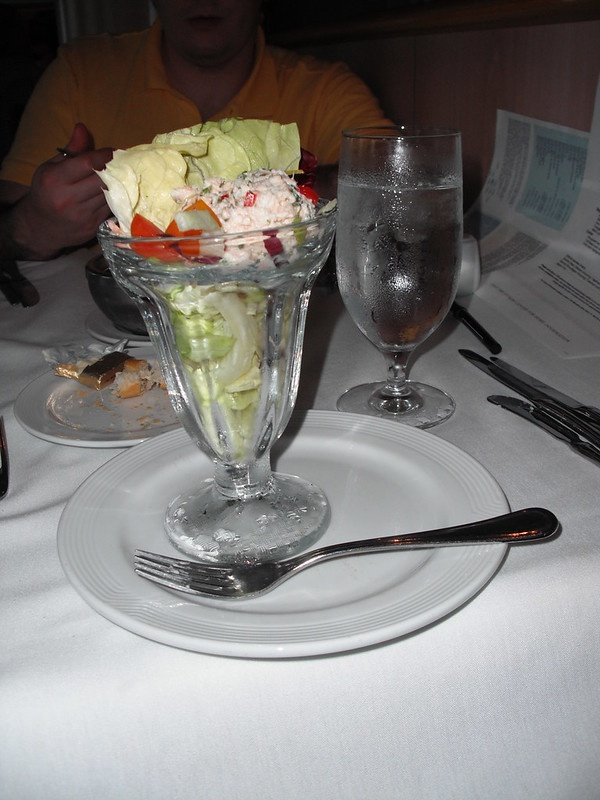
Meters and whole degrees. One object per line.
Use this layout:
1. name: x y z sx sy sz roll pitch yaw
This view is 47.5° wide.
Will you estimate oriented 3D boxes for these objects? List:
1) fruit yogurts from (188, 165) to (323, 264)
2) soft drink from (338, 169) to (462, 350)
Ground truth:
1. fruit yogurts: -0.020 -0.096 0.358 0.064 0.021 0.061 -5 39 -9
2. soft drink: 0.081 -0.110 0.561 0.096 0.131 0.072 2 39 9
